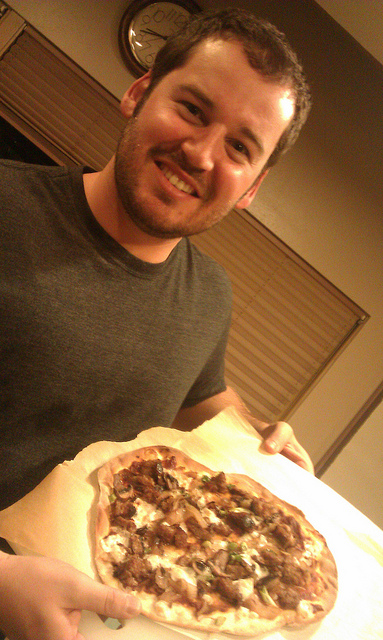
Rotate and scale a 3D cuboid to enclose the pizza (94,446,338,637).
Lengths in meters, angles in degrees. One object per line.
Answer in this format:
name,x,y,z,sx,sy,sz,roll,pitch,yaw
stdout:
pizza,0.033,0.320,0.753,0.374,0.132,0.256,24,23,-15
